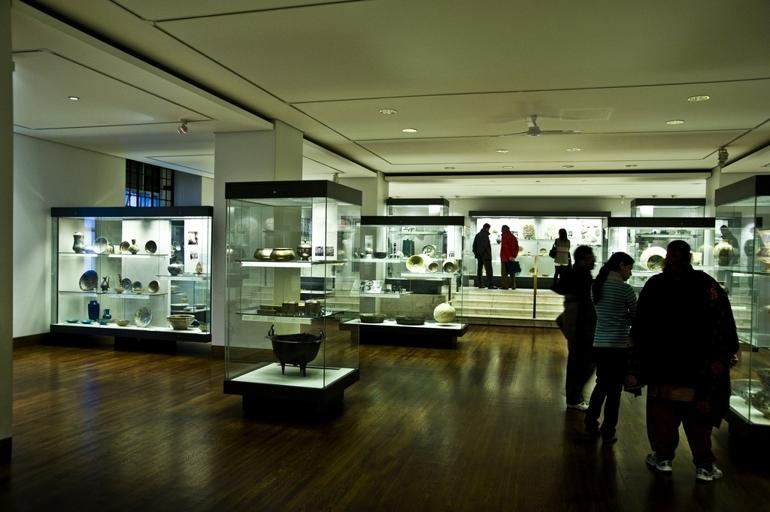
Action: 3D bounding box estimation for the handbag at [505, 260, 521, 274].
[{"bbox_3d":[3.433,0.286,15.371,0.461,0.292,0.094,-3,0,-44],"label":"handbag"}]

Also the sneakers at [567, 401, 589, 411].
[{"bbox_3d":[2.589,1.998,7.664,0.286,0.114,0.109,-2,0,13],"label":"sneakers"}]

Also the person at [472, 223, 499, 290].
[{"bbox_3d":[2.632,-0.013,15.347,0.571,1.820,1.451,2,8,8],"label":"person"}]

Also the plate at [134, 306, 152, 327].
[{"bbox_3d":[-4.393,1.085,10.424,0.375,0.352,0.152,4,9,22],"label":"plate"}]

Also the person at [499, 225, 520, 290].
[{"bbox_3d":[3.361,0.018,15.306,0.487,1.759,1.015,3,9,13],"label":"person"}]

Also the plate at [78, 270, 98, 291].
[{"bbox_3d":[-5.536,0.444,10.741,0.415,0.385,0.092,4,9,21],"label":"plate"}]

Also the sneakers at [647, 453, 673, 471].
[{"bbox_3d":[2.960,2.222,6.152,0.121,0.111,0.279,-2,5,0],"label":"sneakers"}]

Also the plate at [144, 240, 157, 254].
[{"bbox_3d":[-4.228,-0.185,10.575,0.255,0.227,0.237,-16,1,-1],"label":"plate"}]

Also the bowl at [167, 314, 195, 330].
[{"bbox_3d":[-3.574,1.150,10.089,0.475,0.261,0.194,6,10,32],"label":"bowl"}]

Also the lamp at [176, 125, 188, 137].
[{"bbox_3d":[-3.381,-2.105,9.543,0.145,0.113,0.198,6,8,-16],"label":"lamp"}]

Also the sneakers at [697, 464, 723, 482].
[{"bbox_3d":[3.414,2.282,6.073,0.325,0.130,0.126,-2,0,-26],"label":"sneakers"}]
